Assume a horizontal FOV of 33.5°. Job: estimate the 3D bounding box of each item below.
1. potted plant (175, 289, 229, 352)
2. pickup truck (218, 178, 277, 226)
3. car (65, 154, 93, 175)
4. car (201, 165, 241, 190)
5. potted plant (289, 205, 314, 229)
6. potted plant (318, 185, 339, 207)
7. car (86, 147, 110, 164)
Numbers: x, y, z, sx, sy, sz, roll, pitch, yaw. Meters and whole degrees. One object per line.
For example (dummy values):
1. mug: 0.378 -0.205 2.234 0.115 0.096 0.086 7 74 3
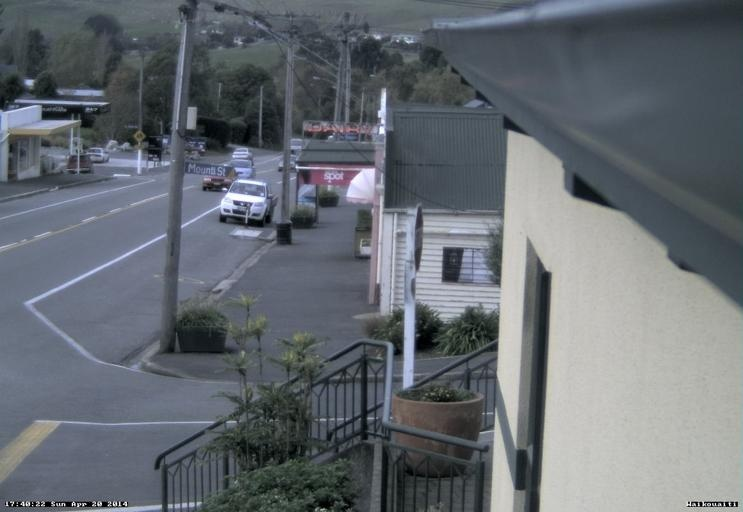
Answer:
1. potted plant: -4.691 2.106 34.541 1.456 1.689 1.413 3 -21 -7
2. pickup truck: -5.526 -2.292 54.707 1.964 1.909 4.416 2 3 -2
3. car: -17.552 -5.536 74.227 1.428 1.191 1.932 -4 11 -41
4. car: -6.353 -3.177 51.755 1.630 1.537 3.072 0 5 -1
5. potted plant: -3.076 -1.769 55.366 0.791 1.054 1.000 3 12 1
6. potted plant: -2.331 -3.171 66.845 0.963 1.122 1.010 0 9 -5
7. car: -19.093 -6.634 86.442 1.485 1.412 2.653 -2 6 -19
